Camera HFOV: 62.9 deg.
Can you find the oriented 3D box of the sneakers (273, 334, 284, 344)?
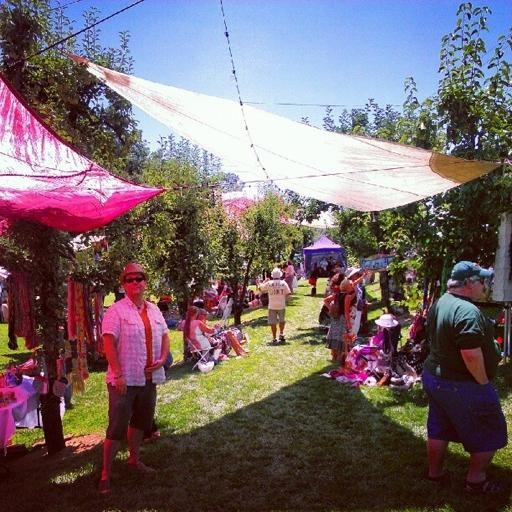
[{"bbox_3d":[0.549,2.261,11.251,0.366,0.307,0.133,2,-7,-6],"label":"sneakers"}]

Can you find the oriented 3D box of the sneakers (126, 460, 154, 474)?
[{"bbox_3d":[-1.171,2.153,4.296,0.300,0.150,0.106,0,-2,1],"label":"sneakers"}]

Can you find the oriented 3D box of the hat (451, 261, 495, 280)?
[{"bbox_3d":[1.840,0.153,3.576,0.255,0.131,0.177,-7,7,4],"label":"hat"}]

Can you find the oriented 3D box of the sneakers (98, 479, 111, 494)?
[{"bbox_3d":[-1.399,2.113,3.849,0.109,0.100,0.134,-2,-1,-23],"label":"sneakers"}]

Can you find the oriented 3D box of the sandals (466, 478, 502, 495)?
[{"bbox_3d":[1.903,1.931,3.487,0.243,0.088,0.114,-5,10,8],"label":"sandals"}]
